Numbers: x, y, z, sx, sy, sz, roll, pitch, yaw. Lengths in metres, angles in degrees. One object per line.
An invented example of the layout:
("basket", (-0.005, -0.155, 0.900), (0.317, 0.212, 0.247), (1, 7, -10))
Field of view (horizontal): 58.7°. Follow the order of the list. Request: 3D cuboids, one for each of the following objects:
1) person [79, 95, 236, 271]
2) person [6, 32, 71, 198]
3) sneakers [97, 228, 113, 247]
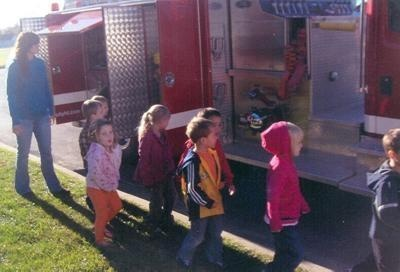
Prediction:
("person", (-0.647, 0.325, 4.243), (2.303, 1.438, 0.692), (12, 17, 32))
("person", (-2.224, -0.263, 4.786), (0.608, 2.147, 0.536), (-5, 16, -29))
("sneakers", (-1.050, 1.117, 3.955), (0.158, 0.111, 0.321), (2, 15, -3))
